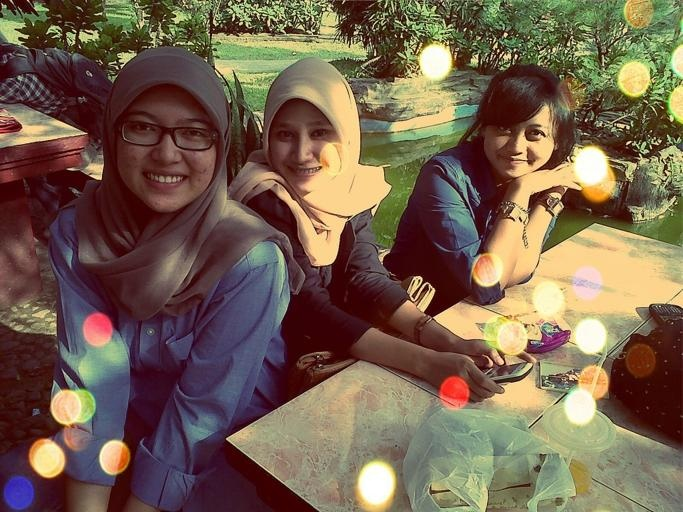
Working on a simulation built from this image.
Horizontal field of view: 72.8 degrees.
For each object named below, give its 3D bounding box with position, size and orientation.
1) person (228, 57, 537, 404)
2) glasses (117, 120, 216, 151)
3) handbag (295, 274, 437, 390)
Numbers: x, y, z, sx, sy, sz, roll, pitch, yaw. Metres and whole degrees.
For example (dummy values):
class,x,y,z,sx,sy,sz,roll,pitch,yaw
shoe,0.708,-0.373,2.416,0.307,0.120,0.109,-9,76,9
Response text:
class,x,y,z,sx,sy,sz,roll,pitch,yaw
person,0.077,-0.188,2.057,0.853,1.355,1.345,-2,-6,-38
glasses,-0.545,-0.375,1.454,0.291,0.071,0.075,2,25,-11
handbag,0.087,0.357,1.951,0.517,0.188,0.376,-35,55,-12
